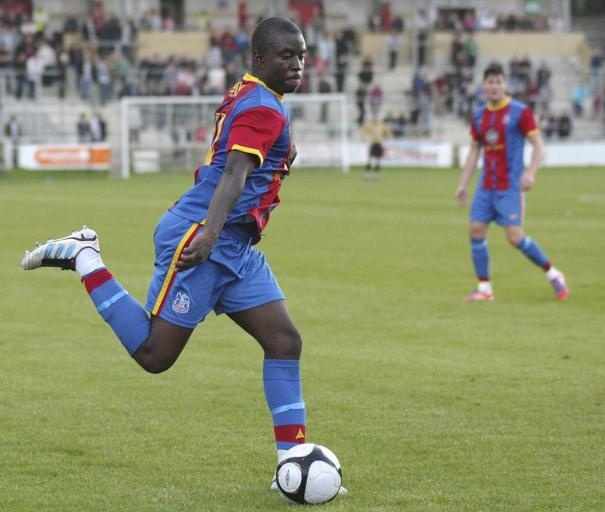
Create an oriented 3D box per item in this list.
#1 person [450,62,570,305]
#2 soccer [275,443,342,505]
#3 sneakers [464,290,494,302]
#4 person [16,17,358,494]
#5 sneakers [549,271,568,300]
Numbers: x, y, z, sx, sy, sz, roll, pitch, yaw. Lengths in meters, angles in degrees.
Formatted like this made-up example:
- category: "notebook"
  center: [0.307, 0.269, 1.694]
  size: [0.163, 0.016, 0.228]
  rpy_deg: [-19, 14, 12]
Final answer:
- category: "person"
  center: [1.418, -0.667, 9.429]
  size: [0.613, 1.462, 1.314]
  rpy_deg: [0, 6, 7]
- category: "soccer"
  center: [0.034, 1.302, 7.734]
  size: [0.368, 0.296, 0.304]
  rpy_deg: [-3, 3, -31]
- category: "sneakers"
  center: [1.192, 0.273, 8.793]
  size: [0.202, 0.085, 0.068]
  rpy_deg: [1, 4, -9]
- category: "person"
  center: [-0.640, -0.092, 7.849]
  size: [1.342, 2.650, 0.543]
  rpy_deg: [-1, 6, 0]
- category: "sneakers"
  center: [1.733, 0.206, 8.840]
  size: [0.092, 0.202, 0.086]
  rpy_deg: [-24, 2, 28]
